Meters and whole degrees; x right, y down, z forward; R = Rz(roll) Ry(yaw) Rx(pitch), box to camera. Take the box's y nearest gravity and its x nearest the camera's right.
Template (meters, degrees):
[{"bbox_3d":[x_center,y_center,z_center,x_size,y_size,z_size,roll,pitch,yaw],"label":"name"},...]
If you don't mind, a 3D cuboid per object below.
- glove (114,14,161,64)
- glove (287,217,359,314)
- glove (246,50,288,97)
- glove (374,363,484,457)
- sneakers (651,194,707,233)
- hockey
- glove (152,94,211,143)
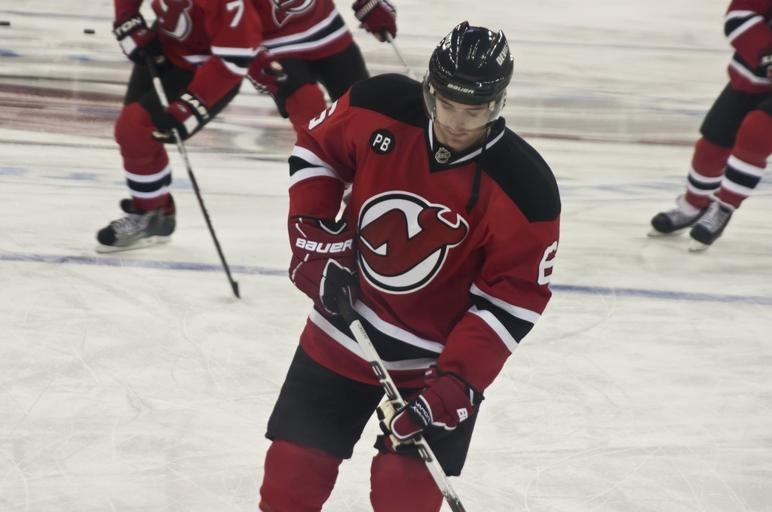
[{"bbox_3d":[-1.326,-1.171,5.102,0.283,0.245,0.106,-26,-13,9],"label":"glove"},{"bbox_3d":[-0.276,0.045,3.883,0.352,0.375,0.182,4,-12,-23],"label":"glove"},{"bbox_3d":[-0.659,-0.970,4.945,0.184,0.089,0.232,-29,65,-33],"label":"glove"},{"bbox_3d":[0.201,0.631,3.823,0.420,0.255,0.183,-36,-6,5],"label":"glove"},{"bbox_3d":[1.816,-0.271,5.701,0.427,0.146,0.144,-21,36,-17],"label":"sneakers"},{"bbox_3d":[-0.913,-0.430,5.134,0.053,1.608,0.127,-35,-7,22],"label":"hockey"},{"bbox_3d":[-1.093,-0.739,4.977,0.305,0.218,0.125,-38,10,-4],"label":"glove"}]
